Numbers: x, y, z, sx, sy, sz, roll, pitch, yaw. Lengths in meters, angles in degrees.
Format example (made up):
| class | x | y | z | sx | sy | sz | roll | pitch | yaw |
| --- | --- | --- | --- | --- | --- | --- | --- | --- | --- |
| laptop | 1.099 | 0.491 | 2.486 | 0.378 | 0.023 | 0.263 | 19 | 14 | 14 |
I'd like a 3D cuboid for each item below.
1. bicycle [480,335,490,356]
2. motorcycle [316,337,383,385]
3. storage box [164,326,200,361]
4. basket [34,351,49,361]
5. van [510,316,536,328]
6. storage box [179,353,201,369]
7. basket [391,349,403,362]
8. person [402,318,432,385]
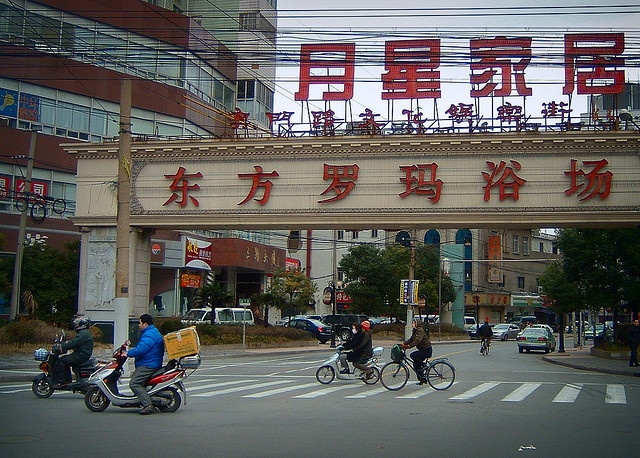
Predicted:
| class | x | y | z | sx | sy | sz | roll | pitch | yaw |
| --- | --- | --- | --- | --- | --- | --- | --- | --- | --- |
| bicycle | 9.765 | 6.927 | 59.581 | 0.496 | 1.033 | 1.293 | -1 | -6 | 9 |
| motorcycle | 1.171 | 5.655 | 41.952 | 2.822 | 1.727 | 1.185 | 1 | 0 | -3 |
| storage box | -4.980 | 4.193 | 36.722 | 1.497 | 0.859 | 1.488 | -12 | -6 | -18 |
| basket | -10.668 | 4.753 | 38.040 | 0.397 | 0.482 | 0.505 | 2 | 12 | -13 |
| van | 19.577 | 8.853 | 97.236 | 2.802 | 1.451 | 1.689 | 8 | -8 | -32 |
| storage box | -4.744 | 4.842 | 36.424 | 0.657 | 0.472 | 0.502 | -6 | -14 | -3 |
| basket | 3.091 | 5.121 | 40.731 | 0.438 | 0.575 | 0.764 | 0 | 0 | 3 |
| person | 3.974 | 5.075 | 41.167 | 1.057 | 2.671 | 1.564 | -1 | -5 | 5 |
